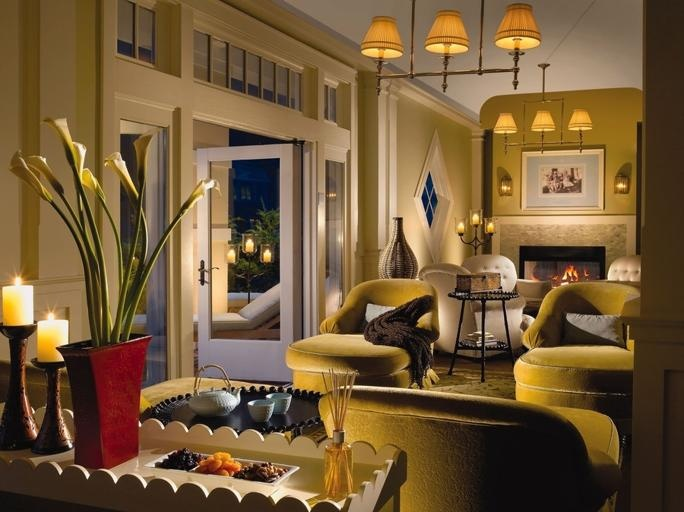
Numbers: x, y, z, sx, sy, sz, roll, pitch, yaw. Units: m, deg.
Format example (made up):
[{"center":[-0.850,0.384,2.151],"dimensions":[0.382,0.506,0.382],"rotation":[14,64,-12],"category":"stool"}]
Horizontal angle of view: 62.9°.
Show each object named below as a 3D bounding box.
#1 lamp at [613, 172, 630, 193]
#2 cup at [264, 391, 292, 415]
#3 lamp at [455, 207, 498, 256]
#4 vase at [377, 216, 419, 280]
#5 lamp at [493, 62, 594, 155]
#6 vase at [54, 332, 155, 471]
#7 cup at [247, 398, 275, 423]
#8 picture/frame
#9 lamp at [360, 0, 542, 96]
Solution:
[{"center":[4.469,-1.176,8.978],"dimensions":[0.229,0.341,0.120],"rotation":[0,2,21],"category":"lamp"},{"center":[-0.299,0.706,2.696],"dimensions":[0.090,0.073,0.091],"rotation":[0,-2,0],"category":"cup"},{"center":[2.162,-0.443,9.182],"dimensions":[0.703,1.040,0.272],"rotation":[-2,8,-11],"category":"lamp"},{"center":[0.552,-0.072,5.551],"dimensions":[0.499,0.878,0.512],"rotation":[-1,-4,3],"category":"vase"},{"center":[3.008,-2.175,8.218],"dimensions":[1.408,1.438,0.337],"rotation":[2,4,39],"category":"lamp"},{"center":[-0.710,0.456,1.700],"dimensions":[0.247,0.401,0.129],"rotation":[-1,2,-30],"category":"vase"},{"center":[-0.370,0.710,2.586],"dimensions":[0.106,0.087,0.146],"rotation":[0,2,-3],"category":"cup"},{"center":[3.681,-1.299,9.232],"dimensions":[0.971,0.826,0.044],"rotation":[0,0,15],"category":"picture/frame"},{"center":[0.928,-1.902,5.063],"dimensions":[1.151,0.766,0.282],"rotation":[1,-1,26],"category":"lamp"}]
